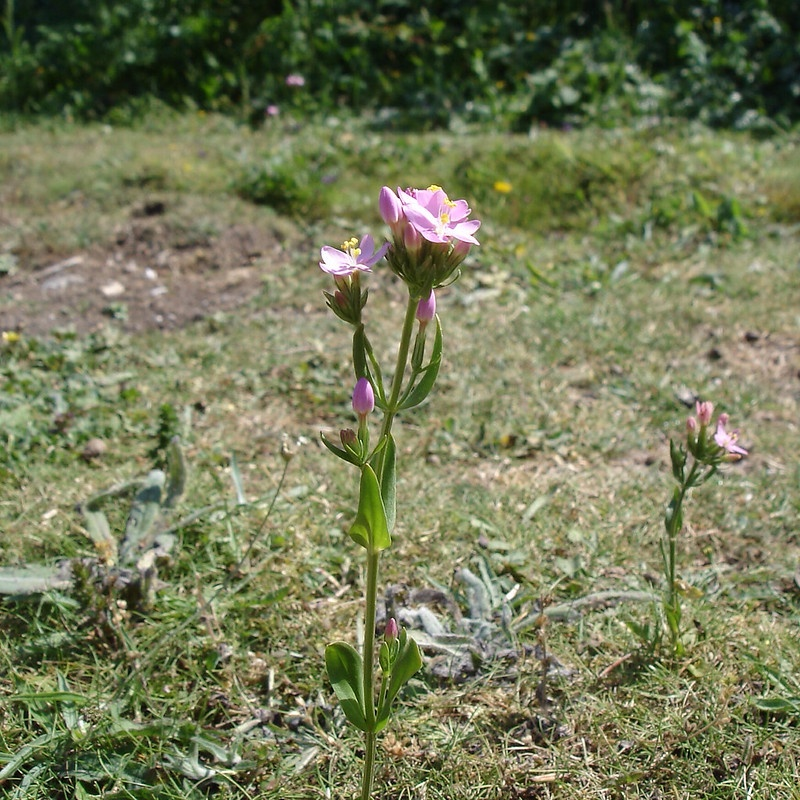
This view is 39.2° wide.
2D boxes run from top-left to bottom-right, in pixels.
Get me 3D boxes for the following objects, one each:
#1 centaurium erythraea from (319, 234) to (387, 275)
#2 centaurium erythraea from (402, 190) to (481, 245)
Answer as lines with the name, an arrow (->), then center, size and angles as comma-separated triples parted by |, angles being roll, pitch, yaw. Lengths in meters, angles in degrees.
centaurium erythraea -> -0.139, -0.464, 3.430 | 0.191, 0.126, 0.355 | -1, 21, -1
centaurium erythraea -> 0.132, -0.563, 3.320 | 0.144, 0.089, 0.203 | 15, -1, 5
